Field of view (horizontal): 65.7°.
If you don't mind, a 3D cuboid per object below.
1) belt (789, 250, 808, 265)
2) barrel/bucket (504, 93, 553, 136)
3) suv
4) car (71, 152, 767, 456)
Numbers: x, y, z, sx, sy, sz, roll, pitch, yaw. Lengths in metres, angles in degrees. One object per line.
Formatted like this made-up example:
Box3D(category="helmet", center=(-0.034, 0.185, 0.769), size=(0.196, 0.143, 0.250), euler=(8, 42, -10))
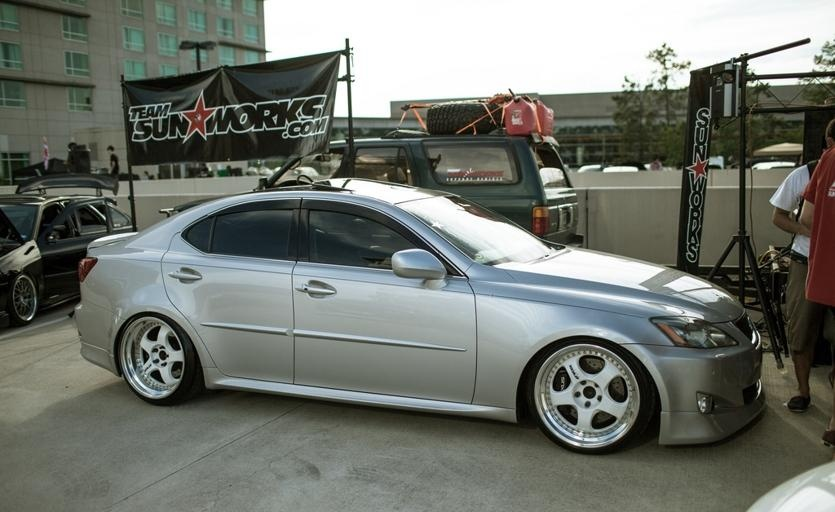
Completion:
Box3D(category="belt", center=(3.987, 0.022, 6.768), size=(0.134, 0.056, 0.102), euler=(13, -2, -6))
Box3D(category="barrel/bucket", center=(1.705, -2.099, 10.068), size=(0.368, 0.719, 1.266), euler=(-1, 8, 34))
Box3D(category="suv", center=(0.069, -1.376, 10.718), size=(4.900, 2.334, 2.739), euler=(5, 6, 11))
Box3D(category="car", center=(-0.089, 0.477, 7.297), size=(6.718, 2.143, 2.916), euler=(0, 6, 18))
